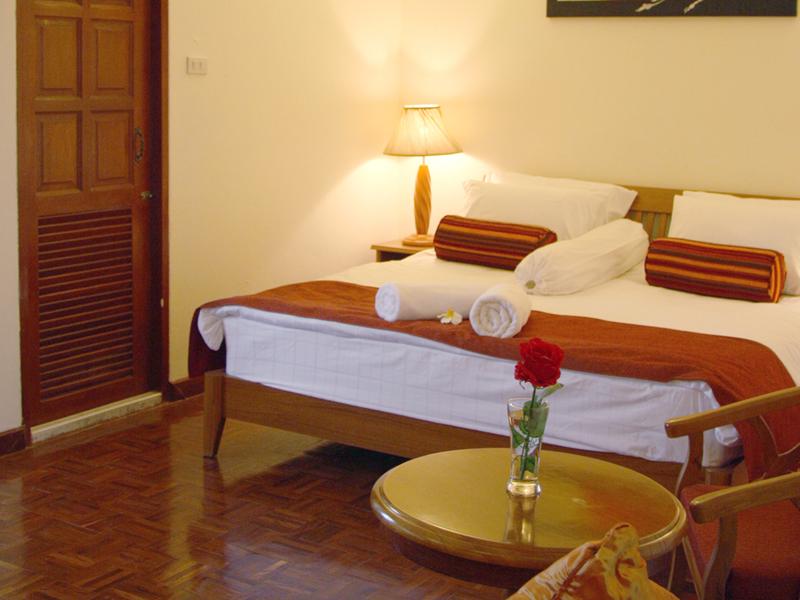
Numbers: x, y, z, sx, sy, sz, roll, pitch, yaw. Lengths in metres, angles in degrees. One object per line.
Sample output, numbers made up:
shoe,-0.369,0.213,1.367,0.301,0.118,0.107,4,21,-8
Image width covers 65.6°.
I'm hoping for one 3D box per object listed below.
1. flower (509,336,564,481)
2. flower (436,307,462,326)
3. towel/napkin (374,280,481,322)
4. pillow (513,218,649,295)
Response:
flower,0.344,0.258,1.565,0.111,0.369,0.286,4,10,14
flower,0.214,0.073,2.616,0.111,0.053,0.088,1,10,-4
towel/napkin,0.110,0.004,2.628,0.279,0.104,0.223,-3,7,-42
pillow,1.033,-0.298,3.416,0.369,0.251,0.814,-3,10,44
